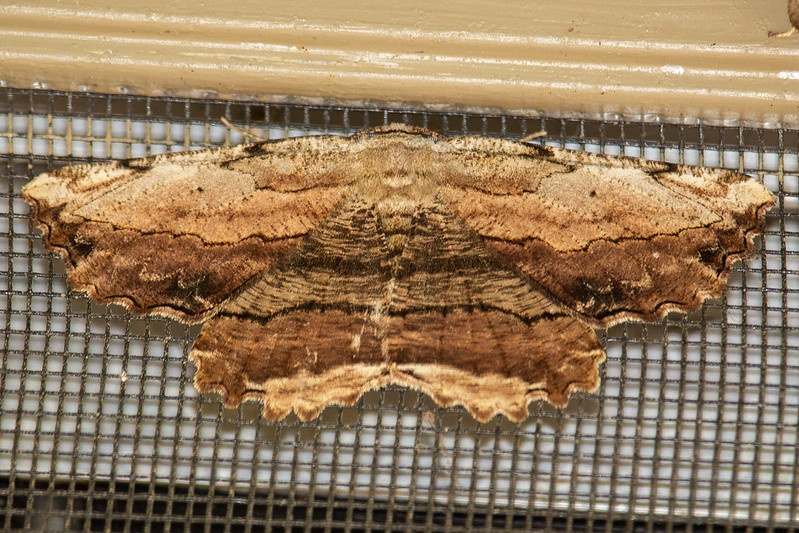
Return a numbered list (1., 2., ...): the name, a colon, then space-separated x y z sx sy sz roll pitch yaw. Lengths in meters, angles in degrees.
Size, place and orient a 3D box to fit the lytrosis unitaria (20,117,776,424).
1. lytrosis unitaria: 0.037 0.022 7.528 2.932 0.192 1.042 3 -94 1
